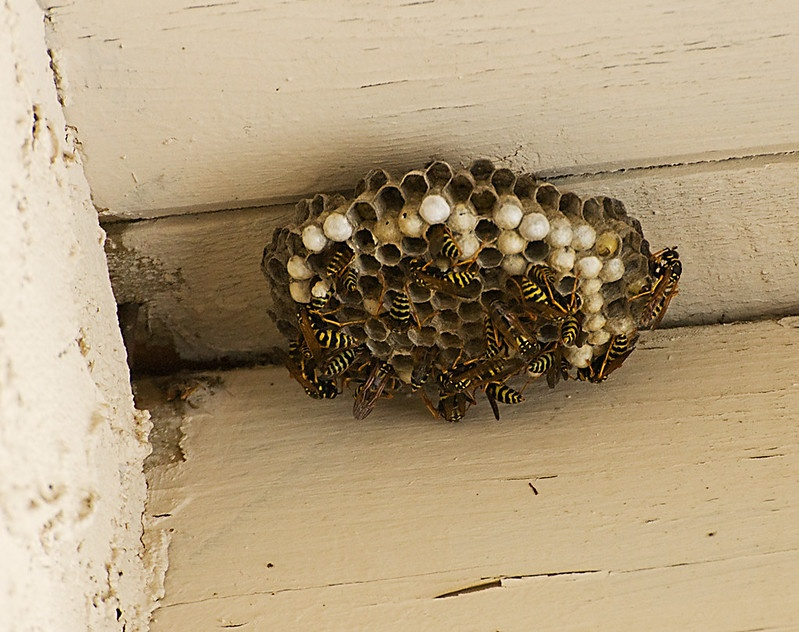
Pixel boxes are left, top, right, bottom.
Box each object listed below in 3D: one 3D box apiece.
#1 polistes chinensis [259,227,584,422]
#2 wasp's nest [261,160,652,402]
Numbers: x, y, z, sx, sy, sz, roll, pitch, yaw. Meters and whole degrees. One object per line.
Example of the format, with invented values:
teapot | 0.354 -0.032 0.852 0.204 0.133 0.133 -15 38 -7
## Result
polistes chinensis | 0.029 0.025 2.849 0.869 0.448 0.189 7 43 -2
wasp's nest | 0.121 -0.091 2.771 0.997 0.557 0.253 9 37 -5
